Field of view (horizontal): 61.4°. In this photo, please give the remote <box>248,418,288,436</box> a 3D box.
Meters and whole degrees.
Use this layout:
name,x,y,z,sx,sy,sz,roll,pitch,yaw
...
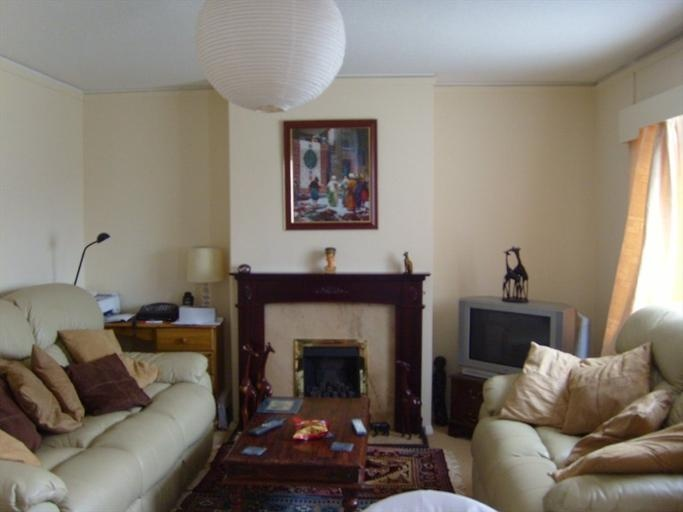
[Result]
name,x,y,z,sx,sy,sz,roll,pitch,yaw
remote,-0.495,1.121,3.770,0.082,0.028,0.149,7,10,34

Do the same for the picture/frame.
name,x,y,z,sx,sy,sz,roll,pitch,yaw
picture/frame,-0.092,-0.713,4.900,0.819,1.030,0.069,-1,2,-1

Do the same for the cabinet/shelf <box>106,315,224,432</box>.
name,x,y,z,sx,sy,sz,roll,pitch,yaw
cabinet/shelf,-1.350,0.909,4.406,0.875,0.912,0.455,0,1,-1

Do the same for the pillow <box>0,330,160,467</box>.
name,x,y,z,sx,sy,sz,roll,pitch,yaw
pillow,-1.819,0.917,3.939,0.664,0.259,0.646,1,30,-46

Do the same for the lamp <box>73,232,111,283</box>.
name,x,y,z,sx,sy,sz,roll,pitch,yaw
lamp,-2.273,0.024,5.148,0.314,0.462,0.392,-2,5,-3

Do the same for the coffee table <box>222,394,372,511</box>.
name,x,y,z,sx,sy,sz,roll,pitch,yaw
coffee table,-0.251,1.311,3.854,0.836,0.467,0.908,-2,5,5
